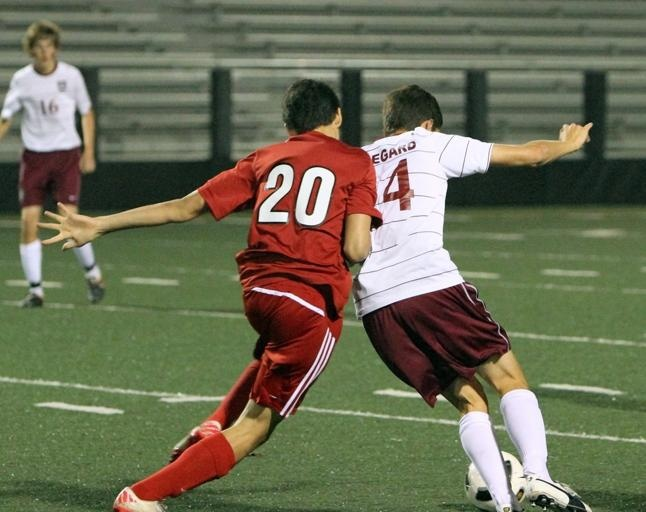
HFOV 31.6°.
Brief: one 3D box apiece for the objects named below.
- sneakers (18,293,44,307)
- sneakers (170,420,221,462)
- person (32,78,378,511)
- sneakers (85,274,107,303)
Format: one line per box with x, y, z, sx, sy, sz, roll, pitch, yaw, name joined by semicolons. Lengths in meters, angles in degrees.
-2.618;0.389;10.188;0.113;0.090;0.169;6;5;26;sneakers
-0.708;1.080;6.628;0.304;0.099;0.219;-33;34;-26;sneakers
-0.398;0.198;6.229;1.465;2.242;0.833;0;16;-10;person
-2.127;0.304;10.741;0.147;0.255;0.108;-1;11;-10;sneakers
